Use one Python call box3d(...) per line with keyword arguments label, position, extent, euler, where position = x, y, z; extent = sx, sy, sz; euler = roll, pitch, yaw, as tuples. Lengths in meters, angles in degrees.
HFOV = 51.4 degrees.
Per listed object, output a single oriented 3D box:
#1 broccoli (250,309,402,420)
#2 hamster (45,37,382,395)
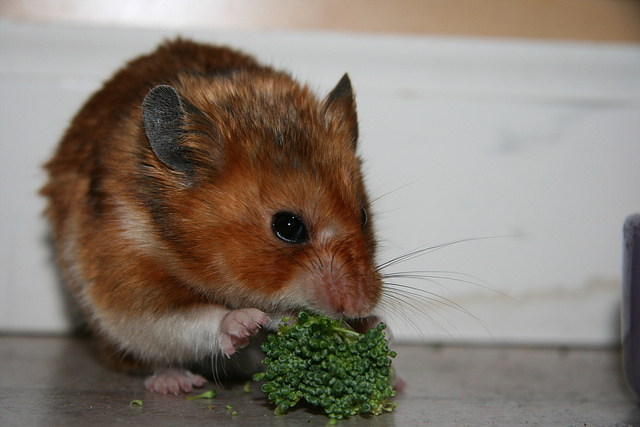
box3d(label="broccoli", position=(-0.024, 0.641, 2.921), extent=(0.448, 0.492, 0.544), euler=(-5, 33, -29))
box3d(label="hamster", position=(-0.503, -0.073, 3.054), extent=(1.122, 1.747, 1.065), euler=(-5, 31, -16))
